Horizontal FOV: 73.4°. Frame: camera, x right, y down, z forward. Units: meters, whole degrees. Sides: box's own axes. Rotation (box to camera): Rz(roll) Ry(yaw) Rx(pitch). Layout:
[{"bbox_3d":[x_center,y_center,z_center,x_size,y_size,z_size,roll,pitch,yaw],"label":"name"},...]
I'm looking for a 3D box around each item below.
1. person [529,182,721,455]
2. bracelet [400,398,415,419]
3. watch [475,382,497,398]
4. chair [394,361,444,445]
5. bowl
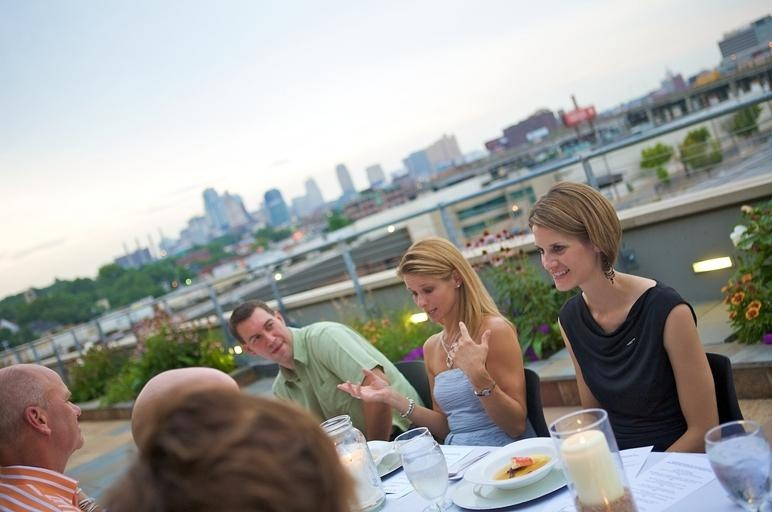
[{"bbox_3d":[0.993,0.236,2.172,0.309,0.838,0.556,-20,5,-24],"label":"person"},{"bbox_3d":[0.124,0.750,2.560,0.092,0.035,0.091,124,166,-52],"label":"bracelet"},{"bbox_3d":[0.444,0.598,2.286,0.090,0.046,0.025,-19,5,3],"label":"watch"},{"bbox_3d":[0.191,0.800,3.046,0.289,0.531,0.346,-12,-9,23],"label":"chair"},{"bbox_3d":[0.445,0.735,1.836,0.246,0.044,0.265,-25,1,0],"label":"bowl"}]
